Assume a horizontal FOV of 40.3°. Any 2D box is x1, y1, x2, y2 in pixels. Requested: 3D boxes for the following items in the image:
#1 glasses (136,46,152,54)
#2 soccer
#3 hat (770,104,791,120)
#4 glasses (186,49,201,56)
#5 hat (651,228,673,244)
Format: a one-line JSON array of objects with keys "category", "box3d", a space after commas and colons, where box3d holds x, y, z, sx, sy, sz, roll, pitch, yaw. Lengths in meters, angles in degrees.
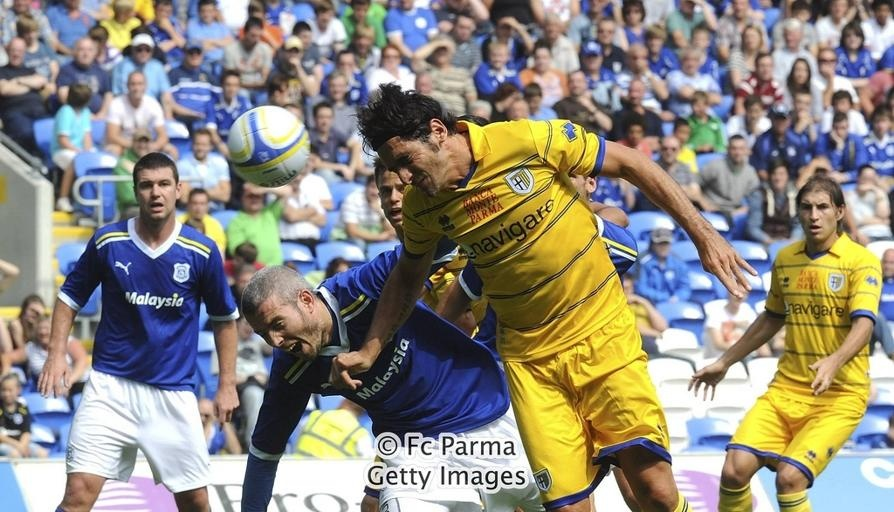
[{"category": "glasses", "box3d": [-4.805, -3.285, 19.368, 0.274, 0.106, 0.144, 4, -4, -41]}, {"category": "soccer", "box3d": [-2.123, -1.317, 14.702, 0.950, 0.945, 0.924, 46, -1, -14]}, {"category": "hat", "box3d": [5.805, -2.542, 21.209, 0.300, 0.182, 0.392, 2, 15, 5]}, {"category": "glasses", "box3d": [-4.117, -3.308, 19.744, 0.138, 0.079, 0.223, -2, 2, -8]}, {"category": "hat", "box3d": [3.296, -0.302, 18.641, 0.303, 0.240, 0.495, 1, -3, 6]}]
